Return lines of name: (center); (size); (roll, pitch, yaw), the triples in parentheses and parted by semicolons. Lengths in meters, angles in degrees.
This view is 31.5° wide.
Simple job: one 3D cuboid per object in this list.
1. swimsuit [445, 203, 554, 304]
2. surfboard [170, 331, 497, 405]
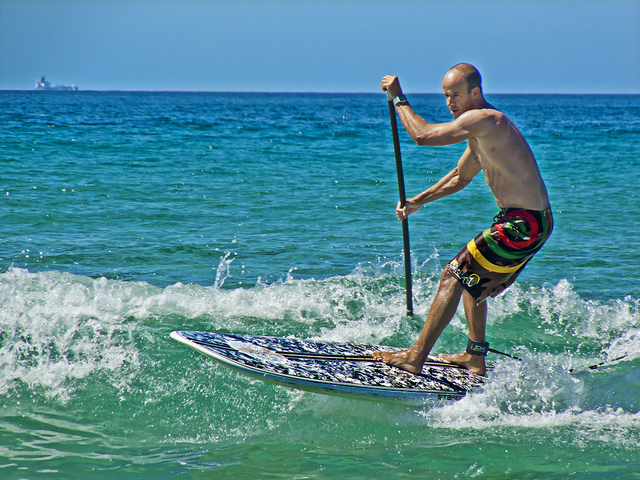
swimsuit: (2.588, 0.110, 16.610); (0.918, 1.459, 1.143); (24, 25, 20)
surfboard: (-0.295, 1.890, 16.472); (5.764, 0.716, 1.562); (6, 8, -8)
